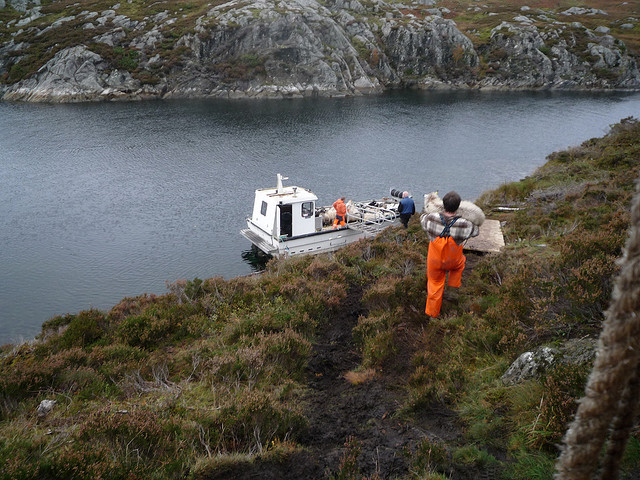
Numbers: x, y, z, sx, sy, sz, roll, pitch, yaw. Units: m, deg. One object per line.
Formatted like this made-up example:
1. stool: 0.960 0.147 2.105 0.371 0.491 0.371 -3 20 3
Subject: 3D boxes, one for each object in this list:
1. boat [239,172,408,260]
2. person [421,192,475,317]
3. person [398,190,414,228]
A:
1. boat: 0.890 -0.978 28.931 8.950 4.008 4.322 -14 29 -22
2. person: 3.270 0.441 13.181 1.101 3.306 0.503 0 16 1
3. person: 4.115 -1.393 23.815 0.833 1.982 0.579 -5 34 -4
